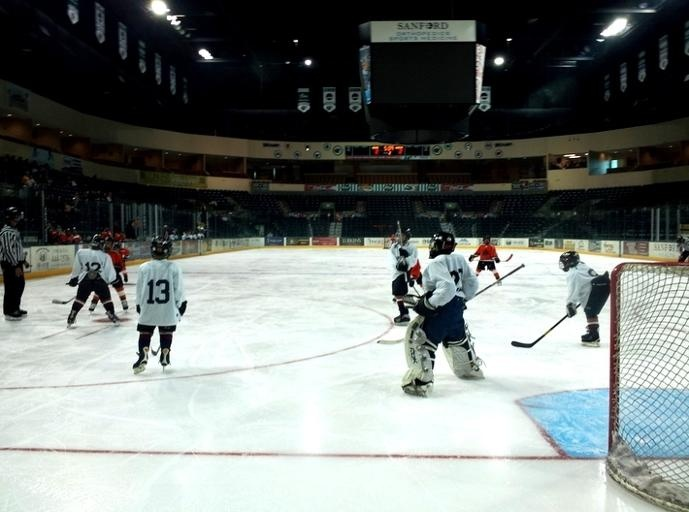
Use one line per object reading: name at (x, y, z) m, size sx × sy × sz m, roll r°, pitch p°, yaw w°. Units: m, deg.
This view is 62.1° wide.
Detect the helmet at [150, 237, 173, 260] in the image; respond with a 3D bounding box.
helmet at (-2.193, -0.091, 6.926) m, size 0.229 × 0.265 × 0.284 m, roll 4°, pitch 0°, yaw -7°

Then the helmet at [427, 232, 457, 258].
helmet at (1.103, -0.131, 6.531) m, size 0.336 × 0.304 × 0.262 m, roll 6°, pitch -1°, yaw 16°

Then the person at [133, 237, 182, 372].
person at (-2.260, 0.578, 6.911) m, size 0.622 × 1.625 × 0.364 m, roll -3°, pitch 9°, yaw -20°

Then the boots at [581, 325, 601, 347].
boots at (3.511, 1.096, 8.118) m, size 0.305 × 0.305 × 0.165 m, roll 1°, pitch 9°, yaw -1°

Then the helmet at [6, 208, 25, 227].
helmet at (-5.646, -0.666, 9.743) m, size 0.216 × 0.308 × 0.467 m, roll -4°, pitch 9°, yaw -31°

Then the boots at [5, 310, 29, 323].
boots at (-5.678, 1.032, 9.898) m, size 0.314 × 0.140 × 0.158 m, roll 0°, pitch 6°, yaw -5°

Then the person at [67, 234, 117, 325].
person at (-4.149, 0.387, 9.350) m, size 0.783 × 1.470 × 0.613 m, roll -4°, pitch 10°, yaw -27°

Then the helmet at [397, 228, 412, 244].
helmet at (1.016, -0.346, 9.770) m, size 0.260 × 0.303 × 0.313 m, roll 1°, pitch 0°, yaw 8°

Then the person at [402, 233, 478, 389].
person at (1.100, 0.607, 6.371) m, size 0.549 × 1.736 × 0.988 m, roll 8°, pitch 11°, yaw 40°

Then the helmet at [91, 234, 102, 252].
helmet at (-4.050, -0.234, 9.358) m, size 0.178 × 0.229 × 0.371 m, roll -3°, pitch 8°, yaw -23°

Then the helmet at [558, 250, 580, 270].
helmet at (3.250, 0.058, 8.294) m, size 0.324 × 0.285 × 0.259 m, roll 3°, pitch 0°, yaw 24°

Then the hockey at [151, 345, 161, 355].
hockey at (-2.488, 1.230, 7.526) m, size 0.130 × 0.165 × 0.061 m, roll -6°, pitch -32°, yaw -2°

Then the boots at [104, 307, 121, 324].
boots at (-3.848, 0.994, 9.499) m, size 0.138 × 0.173 × 0.391 m, roll 1°, pitch 4°, yaw -11°
